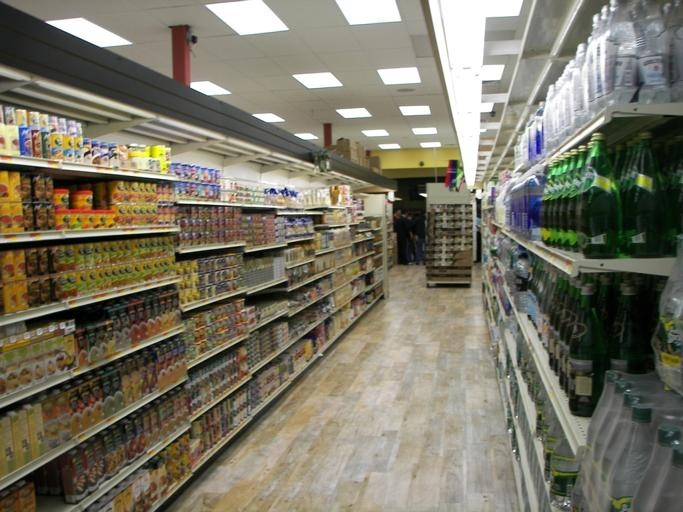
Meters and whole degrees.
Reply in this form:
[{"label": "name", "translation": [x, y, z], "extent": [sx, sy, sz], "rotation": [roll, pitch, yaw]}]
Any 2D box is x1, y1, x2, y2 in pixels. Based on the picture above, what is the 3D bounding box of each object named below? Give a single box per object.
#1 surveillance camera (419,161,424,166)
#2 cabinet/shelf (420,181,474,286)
[{"label": "surveillance camera", "translation": [2.855, -3.263, 16.550], "extent": [0.146, 0.187, 0.075], "rotation": [-2, 7, 9]}, {"label": "cabinet/shelf", "translation": [2.912, -0.625, 12.672], "extent": [1.222, 2.680, 0.891], "rotation": [-3, 7, 9]}]
